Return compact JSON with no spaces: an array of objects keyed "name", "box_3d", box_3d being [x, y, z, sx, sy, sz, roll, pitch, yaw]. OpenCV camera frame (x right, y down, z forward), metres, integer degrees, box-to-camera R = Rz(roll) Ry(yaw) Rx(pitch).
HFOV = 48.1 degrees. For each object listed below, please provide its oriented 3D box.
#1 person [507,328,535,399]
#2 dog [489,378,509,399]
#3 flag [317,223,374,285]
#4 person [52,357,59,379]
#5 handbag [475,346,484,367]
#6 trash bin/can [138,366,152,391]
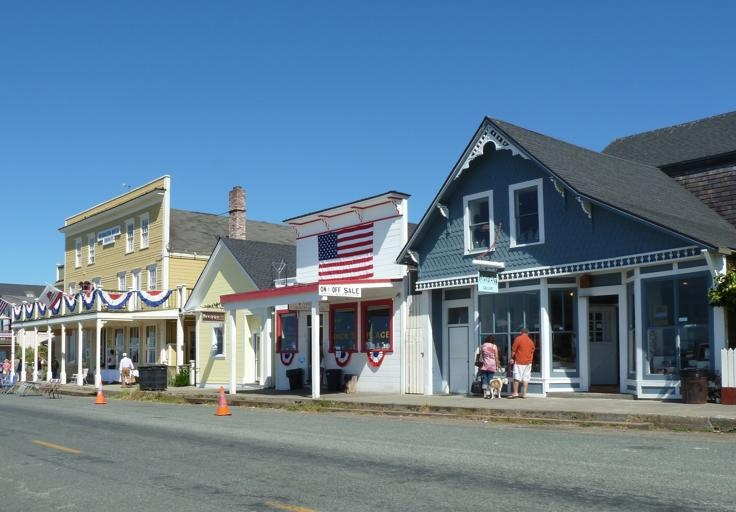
[{"name":"person","box_3d":[4.597,3.226,24.643,0.743,2.020,1.027,-2,-12,9]},{"name":"dog","box_3d":[3.965,4.040,25.173,0.559,0.612,0.847,-2,-12,9]},{"name":"flag","box_3d":[-0.757,-0.073,30.439,2.093,1.511,0.150,-10,-13,43]},{"name":"person","box_3d":[-20.041,7.188,52.992,0.474,1.379,2.154,4,-13,-20]},{"name":"handbag","box_3d":[3.429,3.108,25.463,0.248,0.632,0.663,4,-16,5]},{"name":"trash bin/can","box_3d":[-9.371,5.121,34.596,0.497,1.010,0.479,-1,-12,2]}]
